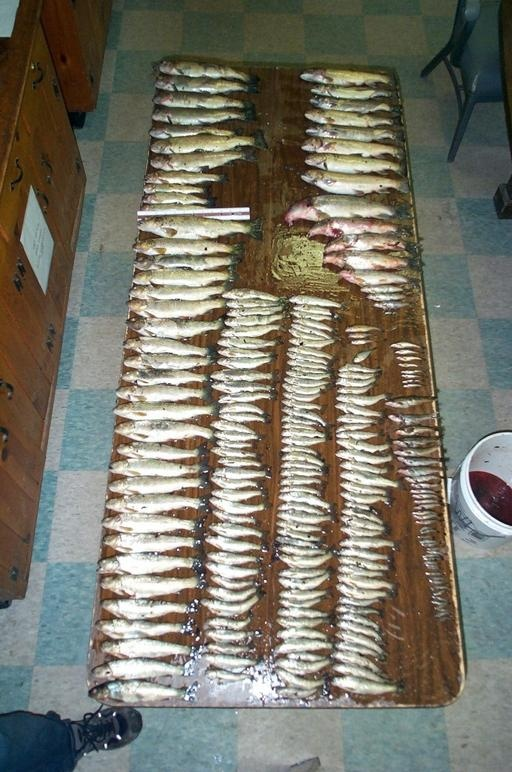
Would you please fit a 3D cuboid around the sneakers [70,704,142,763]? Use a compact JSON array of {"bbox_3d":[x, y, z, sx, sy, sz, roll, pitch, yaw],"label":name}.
[{"bbox_3d":[-0.799,2.113,4.413,0.628,0.231,0.187,-9,78,-11],"label":"sneakers"}]
